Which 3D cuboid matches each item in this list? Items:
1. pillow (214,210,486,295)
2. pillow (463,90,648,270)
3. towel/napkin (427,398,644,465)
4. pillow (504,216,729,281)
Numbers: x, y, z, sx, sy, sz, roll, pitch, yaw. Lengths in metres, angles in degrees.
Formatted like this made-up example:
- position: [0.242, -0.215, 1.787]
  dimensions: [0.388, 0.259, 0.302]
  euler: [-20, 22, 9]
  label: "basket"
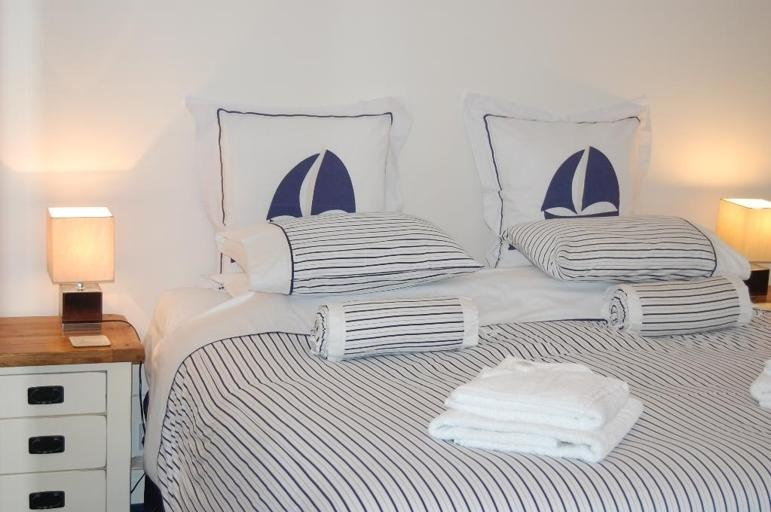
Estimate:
- position: [-0.133, -0.003, 2.163]
  dimensions: [0.635, 0.186, 0.361]
  euler: [-2, 22, -20]
  label: "pillow"
- position: [0.883, -0.293, 2.995]
  dimensions: [1.096, 0.895, 0.196]
  euler: [-6, 15, -24]
  label: "pillow"
- position: [0.299, 0.437, 1.485]
  dimensions: [0.305, 0.052, 0.308]
  euler: [-1, 6, 12]
  label: "towel/napkin"
- position: [0.965, -0.032, 2.523]
  dimensions: [0.806, 0.256, 0.337]
  euler: [-3, 4, -7]
  label: "pillow"
